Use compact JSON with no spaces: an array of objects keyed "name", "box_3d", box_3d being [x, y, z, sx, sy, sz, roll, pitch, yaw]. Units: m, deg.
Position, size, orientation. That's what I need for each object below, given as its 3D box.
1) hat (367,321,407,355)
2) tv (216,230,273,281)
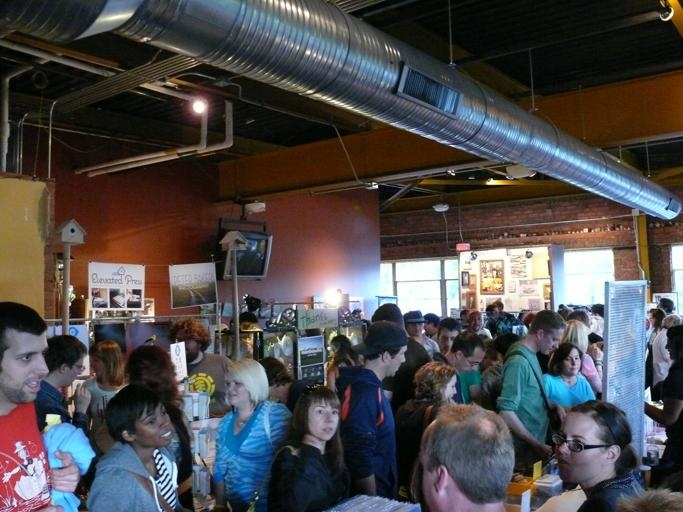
[{"name":"hat","box_3d":[0.271,0.520,3.547,0.248,0.123,0.169,-1,1,-15]},{"name":"tv","box_3d":[-1.700,-0.005,9.795,0.507,0.780,0.946,2,-1,33]}]
